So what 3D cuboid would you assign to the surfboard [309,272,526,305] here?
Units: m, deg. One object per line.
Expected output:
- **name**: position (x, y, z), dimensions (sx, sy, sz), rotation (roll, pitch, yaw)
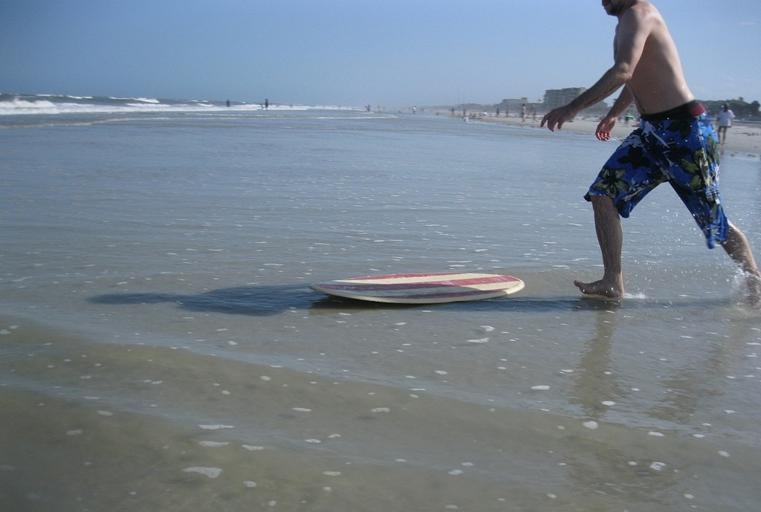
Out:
- **surfboard**: position (0.363, 0.258, 5.166), dimensions (1.884, 0.101, 0.440), rotation (0, 13, -19)
